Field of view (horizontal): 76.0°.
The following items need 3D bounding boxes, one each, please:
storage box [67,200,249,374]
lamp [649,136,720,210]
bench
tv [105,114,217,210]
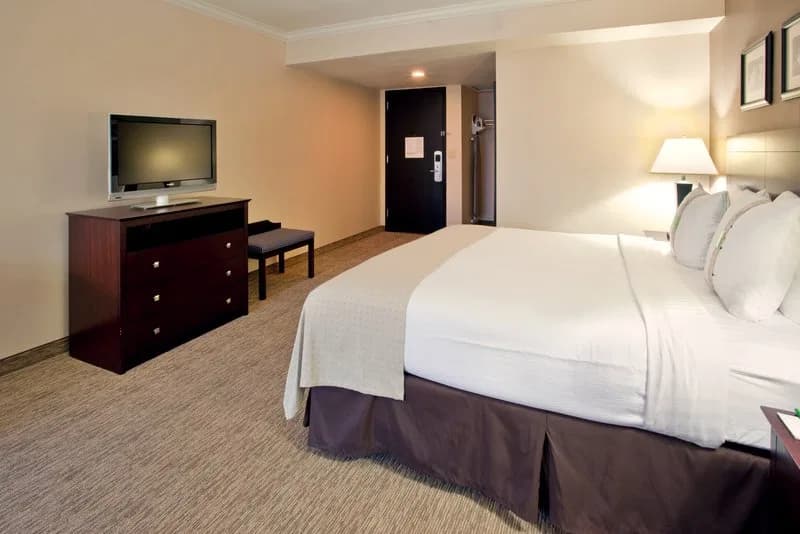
[{"bbox_3d":[-1.986,0.032,4.365,0.641,1.195,1.285,12,17,24],"label":"storage box"},{"bbox_3d":[2.543,-0.811,4.629,0.499,0.537,0.585,-27,2,18],"label":"lamp"},{"bbox_3d":[-1.369,-0.110,5.518,0.506,0.701,1.002,6,15,18],"label":"bench"},{"bbox_3d":[-1.952,-0.932,4.272,0.096,0.660,1.010,8,19,31],"label":"tv"}]
